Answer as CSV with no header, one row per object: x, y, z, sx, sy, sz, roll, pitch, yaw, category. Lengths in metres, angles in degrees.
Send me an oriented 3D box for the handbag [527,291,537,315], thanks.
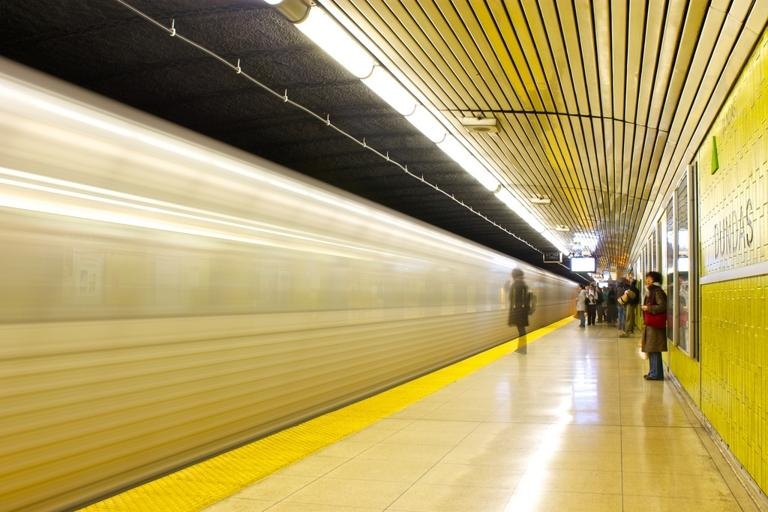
6.008,1.756,17.016,0.338,1.093,1.255,6,-8,21,handbag

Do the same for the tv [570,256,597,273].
11.800,0.480,24.754,1.179,0.986,0.280,1,-11,18,tv
